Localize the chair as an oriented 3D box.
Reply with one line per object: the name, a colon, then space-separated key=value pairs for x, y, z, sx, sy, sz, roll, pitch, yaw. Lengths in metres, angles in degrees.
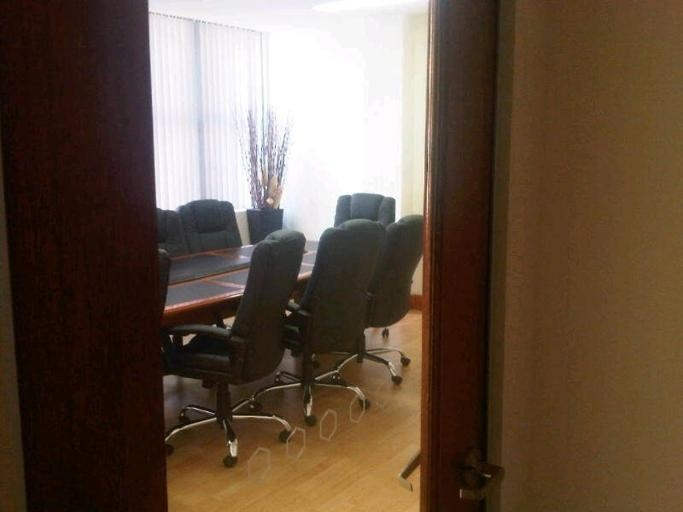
chair: x=-0.259 y=0.437 z=3.044 sx=0.500 sy=0.854 sz=1.323 roll=3 pitch=7 yaw=27
